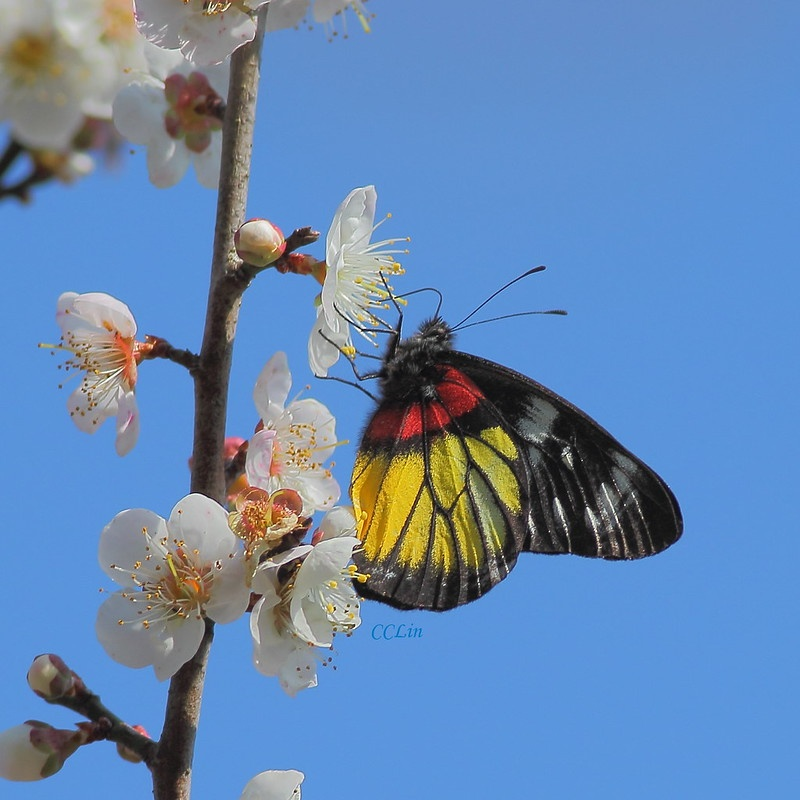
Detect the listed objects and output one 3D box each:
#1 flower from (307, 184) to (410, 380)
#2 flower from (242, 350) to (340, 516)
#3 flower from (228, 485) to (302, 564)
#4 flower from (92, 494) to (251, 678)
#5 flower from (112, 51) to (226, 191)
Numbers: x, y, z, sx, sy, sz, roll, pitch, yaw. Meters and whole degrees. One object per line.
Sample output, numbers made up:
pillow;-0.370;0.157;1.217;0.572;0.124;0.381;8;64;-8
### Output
flower;-0.154;-0.435;6.689;0.213;0.663;0.595;20;19;12
flower;-0.386;0.153;6.287;0.244;0.458;0.489;-7;28;11
flower;-0.457;0.375;6.259;0.260;0.123;0.267;-7;9;-41
flower;-0.728;0.608;6.208;0.532;0.319;0.640;9;21;-1
flower;-0.873;-1.056;7.020;0.225;0.542;0.631;29;21;32
